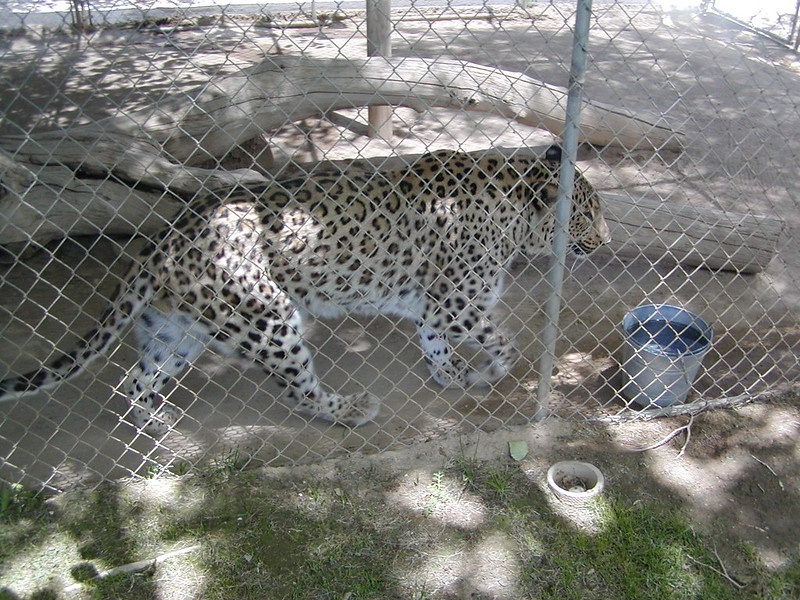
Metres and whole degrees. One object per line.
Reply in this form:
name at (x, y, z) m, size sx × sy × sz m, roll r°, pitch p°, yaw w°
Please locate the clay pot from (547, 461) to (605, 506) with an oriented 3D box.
clay pot at (0.900, 0.933, 3.212) m, size 0.240 × 0.064 × 0.223 m, roll -2°, pitch 22°, yaw 1°
